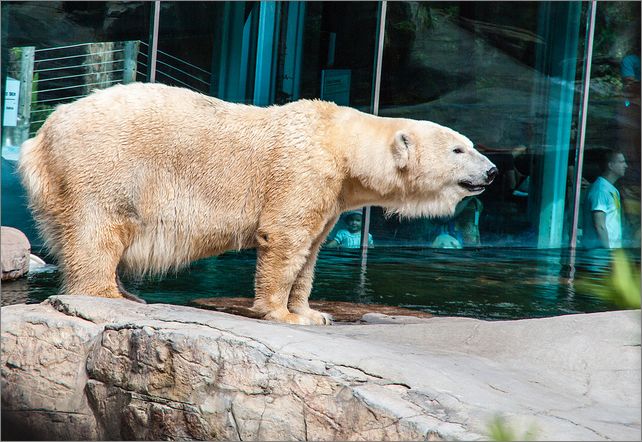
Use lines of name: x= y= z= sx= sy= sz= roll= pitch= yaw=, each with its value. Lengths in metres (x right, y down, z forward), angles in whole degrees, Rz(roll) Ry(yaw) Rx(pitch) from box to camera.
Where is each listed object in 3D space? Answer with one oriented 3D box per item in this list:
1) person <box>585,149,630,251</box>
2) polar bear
person: x=4.427 y=-0.361 z=10.110 sx=0.744 sy=1.541 sz=0.802 roll=4 pitch=5 yaw=38
polar bear: x=-0.610 y=-0.103 z=4.622 sx=3.024 sy=1.695 sz=0.438 roll=2 pitch=7 yaw=-6
